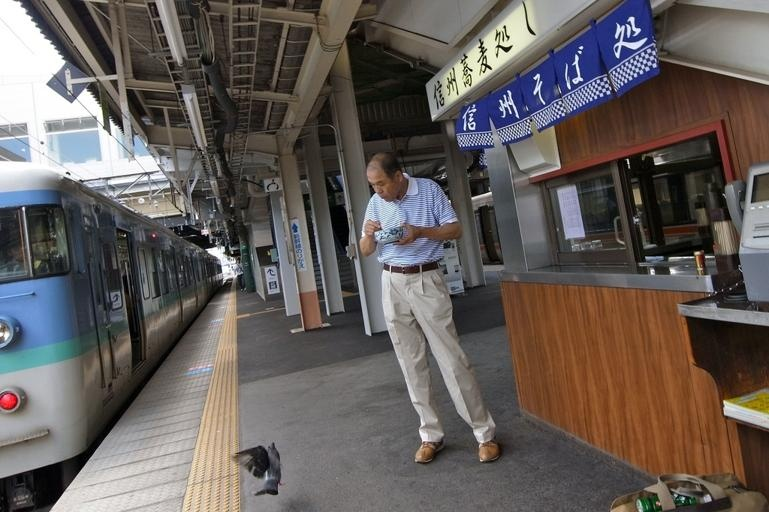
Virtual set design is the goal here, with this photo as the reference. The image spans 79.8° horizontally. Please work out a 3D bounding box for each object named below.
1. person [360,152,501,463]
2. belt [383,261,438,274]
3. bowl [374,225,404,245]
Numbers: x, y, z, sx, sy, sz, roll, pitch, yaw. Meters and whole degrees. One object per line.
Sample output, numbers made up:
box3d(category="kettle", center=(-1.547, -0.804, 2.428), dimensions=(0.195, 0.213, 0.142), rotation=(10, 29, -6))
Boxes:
box3d(category="person", center=(0.283, 0.391, 3.544), dimensions=(0.883, 2.412, 0.703), rotation=(-9, 0, 18))
box3d(category="belt", center=(0.192, 0.089, 3.554), dimensions=(0.438, 0.085, 0.151), rotation=(-7, 2, 12))
box3d(category="bowl", center=(0.026, -0.164, 3.418), dimensions=(0.230, 0.134, 0.157), rotation=(-9, 15, -17))
